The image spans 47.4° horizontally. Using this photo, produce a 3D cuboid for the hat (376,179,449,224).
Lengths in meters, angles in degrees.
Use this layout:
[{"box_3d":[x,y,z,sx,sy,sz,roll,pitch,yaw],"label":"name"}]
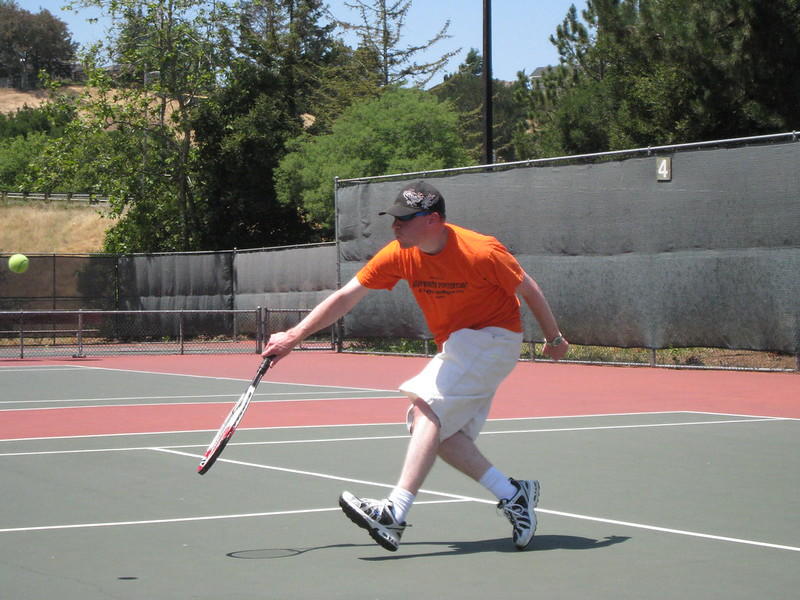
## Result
[{"box_3d":[0.091,-0.659,6.210,0.506,0.294,0.359,4,-4,-27],"label":"hat"}]
